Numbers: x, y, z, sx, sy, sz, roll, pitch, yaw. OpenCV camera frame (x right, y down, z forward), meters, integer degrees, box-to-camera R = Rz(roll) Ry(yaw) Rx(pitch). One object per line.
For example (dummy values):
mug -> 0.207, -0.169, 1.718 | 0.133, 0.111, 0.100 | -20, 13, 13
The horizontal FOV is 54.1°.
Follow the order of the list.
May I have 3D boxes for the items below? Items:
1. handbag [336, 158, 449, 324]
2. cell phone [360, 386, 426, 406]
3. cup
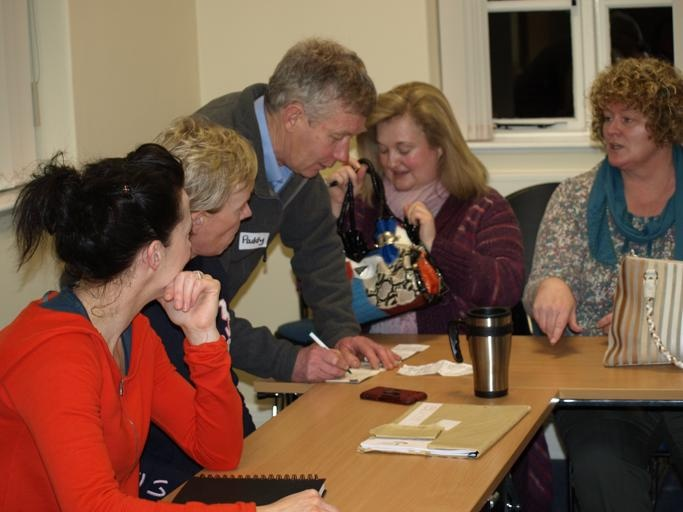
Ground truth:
handbag -> 0.195, -0.050, 2.871 | 0.487, 0.622, 0.163 | -23, -24, 1
cell phone -> 0.134, 0.416, 2.003 | 0.126, 0.022, 0.078 | 2, 7, 26
cup -> 0.423, 0.283, 2.094 | 0.249, 0.334, 0.196 | 0, 2, 10
